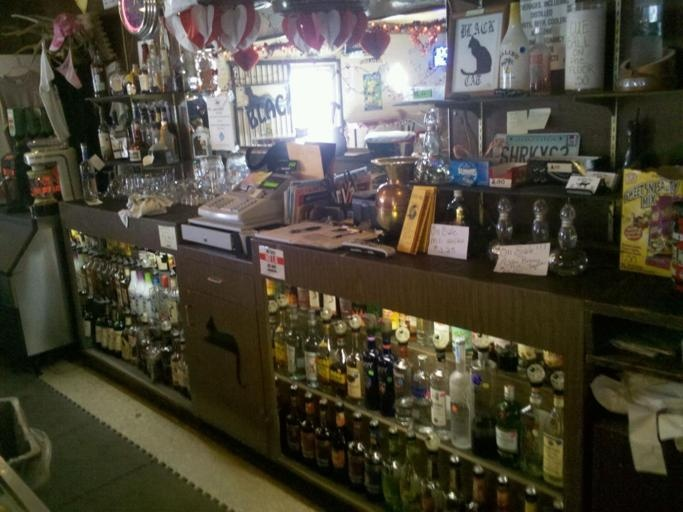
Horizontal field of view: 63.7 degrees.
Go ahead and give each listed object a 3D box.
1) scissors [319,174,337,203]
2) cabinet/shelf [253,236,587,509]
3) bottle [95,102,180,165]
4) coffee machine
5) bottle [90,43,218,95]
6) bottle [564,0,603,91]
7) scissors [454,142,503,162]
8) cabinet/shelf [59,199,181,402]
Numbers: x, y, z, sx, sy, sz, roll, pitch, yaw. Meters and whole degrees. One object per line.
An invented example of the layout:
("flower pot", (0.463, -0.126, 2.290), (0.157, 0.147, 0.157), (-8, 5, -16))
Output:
("scissors", (-0.083, -0.387, 3.120), (0.090, 0.154, 0.040), (-2, 9, 12))
("cabinet/shelf", (0.382, 0.523, 2.536), (0.390, 0.682, 1.283), (-8, 13, -42))
("bottle", (-1.621, -0.979, 4.416), (0.521, 0.503, 0.175), (6, 10, 32))
("coffee machine", (-2.435, -0.688, 4.656), (0.394, 0.587, 0.369), (-8, 16, -29))
("bottle", (-1.429, -1.447, 4.253), (0.481, 0.359, 0.258), (9, 17, 18))
("bottle", (1.012, -0.852, 2.253), (0.176, 0.338, 0.113), (-1, 13, 1))
("scissors", (0.713, -0.525, 2.831), (0.257, 0.107, 0.083), (0, 25, 40))
("cabinet/shelf", (-1.688, 0.339, 4.217), (1.247, 1.129, 0.405), (12, 16, 39))
